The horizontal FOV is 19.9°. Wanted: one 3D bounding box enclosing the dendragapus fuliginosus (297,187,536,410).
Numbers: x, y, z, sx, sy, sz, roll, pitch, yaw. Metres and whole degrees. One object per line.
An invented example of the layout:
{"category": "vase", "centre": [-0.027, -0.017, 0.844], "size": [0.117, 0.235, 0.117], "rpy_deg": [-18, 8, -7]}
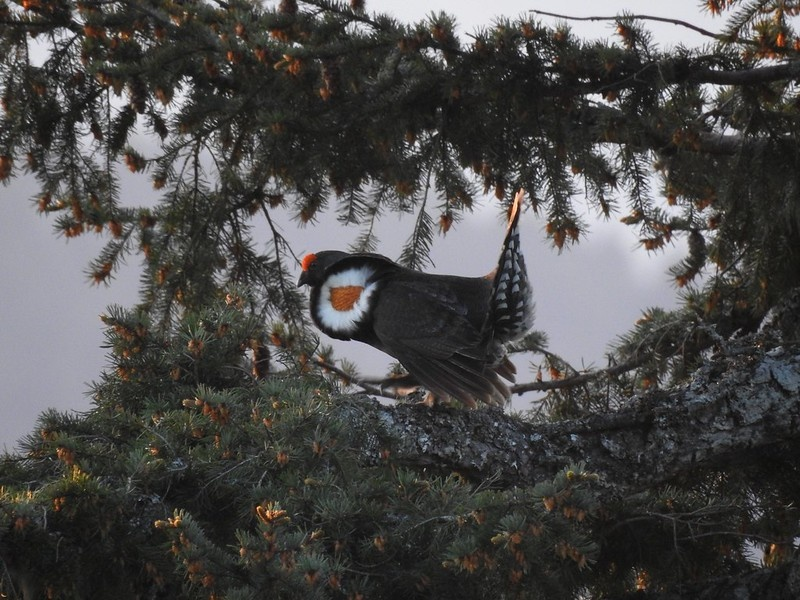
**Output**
{"category": "dendragapus fuliginosus", "centre": [0.065, 0.050, 12.297], "size": [1.279, 0.560, 1.138], "rpy_deg": [0, -96, 18]}
